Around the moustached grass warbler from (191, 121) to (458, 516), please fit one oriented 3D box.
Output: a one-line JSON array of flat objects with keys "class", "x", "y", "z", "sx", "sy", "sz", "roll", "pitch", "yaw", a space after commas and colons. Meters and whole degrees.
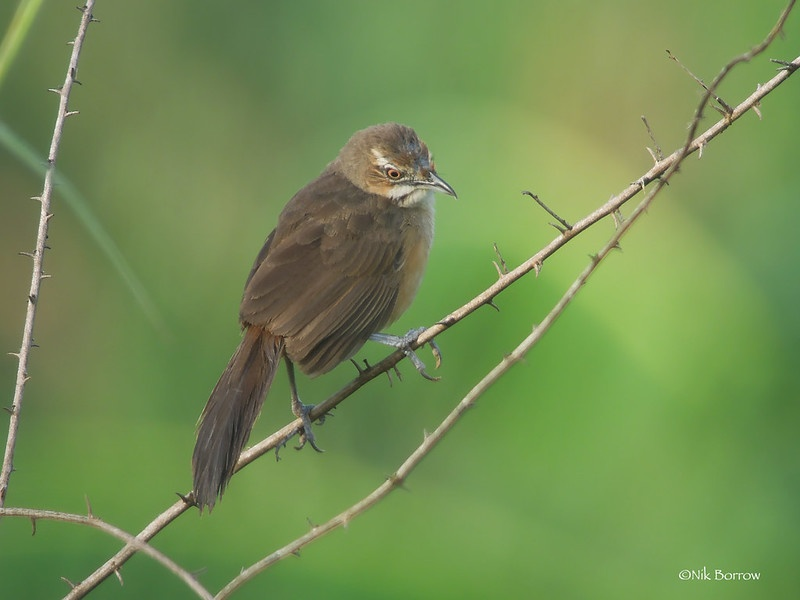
[{"class": "moustached grass warbler", "x": -0.423, "y": -0.013, "z": 5.407, "sx": 1.142, "sy": 2.669, "sz": 0.688, "roll": 7, "pitch": -46, "yaw": 0}]
